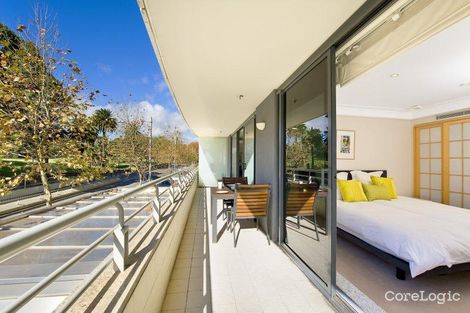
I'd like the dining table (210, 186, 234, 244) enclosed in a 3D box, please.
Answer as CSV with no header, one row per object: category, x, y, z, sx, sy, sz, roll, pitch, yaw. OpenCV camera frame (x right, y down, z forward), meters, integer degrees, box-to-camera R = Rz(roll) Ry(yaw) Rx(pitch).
dining table,-0.413,1.021,5.114,0.738,0.903,1.335,0,3,-9

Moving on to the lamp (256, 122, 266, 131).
lamp,0.564,-0.660,5.302,0.202,0.147,0.178,-2,5,-21

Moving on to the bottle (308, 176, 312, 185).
bottle,1.221,0.373,3.941,0.047,0.122,0.134,-2,-1,8

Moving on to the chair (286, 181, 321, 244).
chair,1.114,0.952,4.463,0.661,1.072,0.778,-1,5,-5

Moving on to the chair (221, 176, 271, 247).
chair,0.224,1.103,5.282,0.847,1.170,1.537,-2,-1,-8
